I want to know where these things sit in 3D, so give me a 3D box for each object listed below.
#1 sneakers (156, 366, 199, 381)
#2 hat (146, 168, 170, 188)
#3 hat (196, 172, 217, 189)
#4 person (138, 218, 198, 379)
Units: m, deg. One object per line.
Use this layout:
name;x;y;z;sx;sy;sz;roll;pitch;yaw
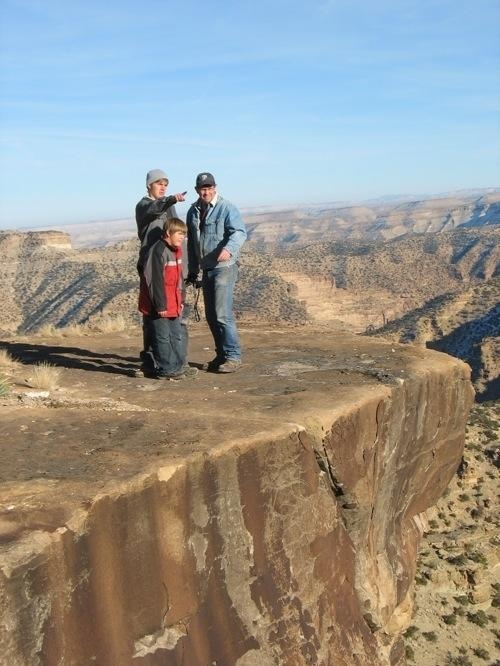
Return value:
sneakers;-0.697;0.402;5.513;0.135;0.159;0.397;-23;-29;38
hat;-0.887;-1.483;5.371;0.185;0.152;0.125;-4;12;-13
hat;-0.422;-1.455;5.365;0.171;0.148;0.257;-3;12;-6
person;-0.784;-0.287;5.235;0.472;1.519;0.630;-3;12;-6
